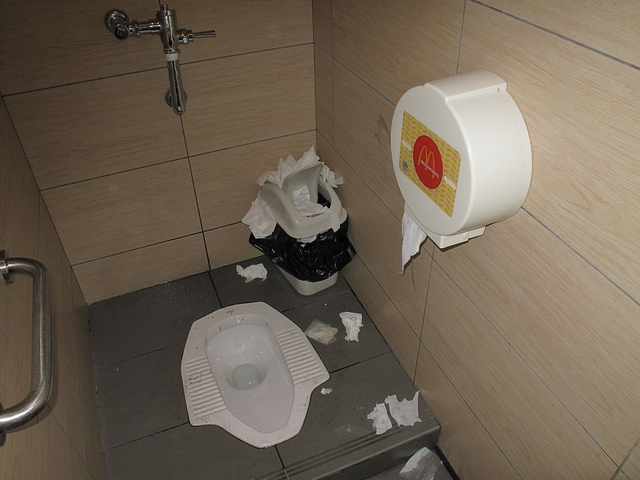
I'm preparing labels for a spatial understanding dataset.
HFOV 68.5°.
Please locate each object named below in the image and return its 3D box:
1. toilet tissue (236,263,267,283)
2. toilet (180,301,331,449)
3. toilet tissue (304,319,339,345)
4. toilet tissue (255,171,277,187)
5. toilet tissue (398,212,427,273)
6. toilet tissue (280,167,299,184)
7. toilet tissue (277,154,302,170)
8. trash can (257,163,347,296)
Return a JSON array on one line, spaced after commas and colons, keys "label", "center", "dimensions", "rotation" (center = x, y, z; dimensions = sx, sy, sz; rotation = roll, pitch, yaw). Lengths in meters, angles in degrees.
[{"label": "toilet tissue", "center": [-0.348, 0.169, 2.415], "dimensions": [0.110, 0.041, 0.088], "rotation": [-11, 56, -25]}, {"label": "toilet", "center": [-0.314, 0.625, 2.068], "dimensions": [0.573, 0.255, 0.690], "rotation": [-18, 42, -27]}, {"label": "toilet tissue", "center": [0.009, 0.421, 2.147], "dimensions": [0.105, 0.030, 0.087], "rotation": [25, 57, 15]}, {"label": "toilet tissue", "center": [-0.255, -0.294, 2.225], "dimensions": [0.059, 0.031, 0.091], "rotation": [-15, 21, 45]}, {"label": "toilet tissue", "center": [0.275, 0.000, 1.424], "dimensions": [0.070, 0.248, 0.137], "rotation": [9, 49, 9]}, {"label": "toilet tissue", "center": [-0.151, -0.318, 2.183], "dimensions": [0.066, 0.069, 0.084], "rotation": [-15, 79, -28]}, {"label": "toilet tissue", "center": [-0.144, -0.363, 2.217], "dimensions": [0.065, 0.030, 0.091], "rotation": [-13, 46, -9]}, {"label": "trash can", "center": [-0.076, -0.072, 2.160], "dimensions": [0.305, 0.509, 0.378], "rotation": [-21, 55, -25]}]
